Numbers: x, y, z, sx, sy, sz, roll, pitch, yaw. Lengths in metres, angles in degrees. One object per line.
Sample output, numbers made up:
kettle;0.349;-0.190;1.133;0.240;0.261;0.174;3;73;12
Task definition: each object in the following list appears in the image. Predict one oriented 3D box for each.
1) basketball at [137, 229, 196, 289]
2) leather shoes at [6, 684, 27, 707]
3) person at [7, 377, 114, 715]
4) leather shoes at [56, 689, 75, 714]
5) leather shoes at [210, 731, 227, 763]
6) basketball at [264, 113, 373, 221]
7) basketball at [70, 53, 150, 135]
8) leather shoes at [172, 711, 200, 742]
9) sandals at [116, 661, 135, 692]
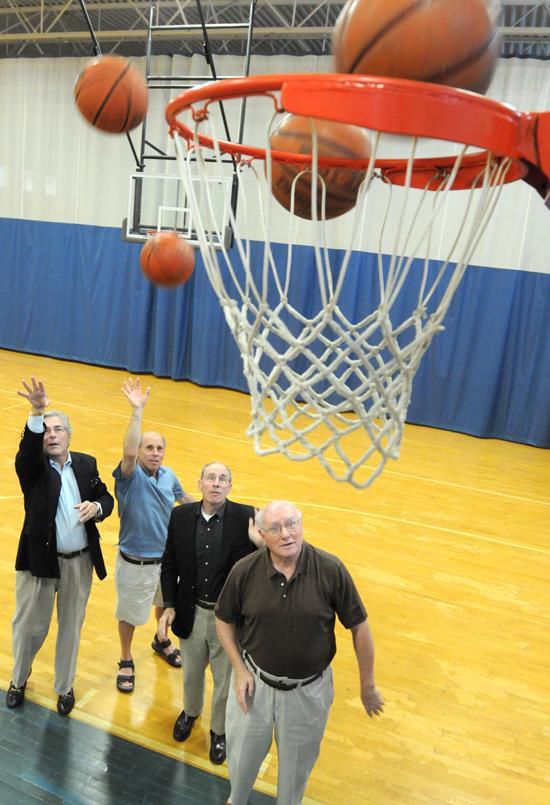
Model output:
basketball;-0.777;-1.022;4.348;0.372;0.413;0.384;10;16;8
leather shoes;-1.135;1.276;2.690;0.043;0.045;0.111;9;-4;-17
person;-0.933;0.600;2.685;0.460;1.460;0.431;-3;14;-30
leather shoes;-0.907;1.294;2.672;0.038;0.047;0.112;-1;2;-9
leather shoes;-0.233;1.386;2.474;0.046;0.060;0.143;-1;16;-13
basketball;0.111;-0.600;1.580;0.253;0.260;0.485;4;13;-2
basketball;-0.801;-1.482;3.064;0.346;0.383;0.360;-5;3;-16
leather shoes;-0.381;1.356;2.583;0.048;0.062;0.150;14;-1;3
sandals;-0.704;1.280;2.916;0.087;0.080;0.206;2;13;-13
